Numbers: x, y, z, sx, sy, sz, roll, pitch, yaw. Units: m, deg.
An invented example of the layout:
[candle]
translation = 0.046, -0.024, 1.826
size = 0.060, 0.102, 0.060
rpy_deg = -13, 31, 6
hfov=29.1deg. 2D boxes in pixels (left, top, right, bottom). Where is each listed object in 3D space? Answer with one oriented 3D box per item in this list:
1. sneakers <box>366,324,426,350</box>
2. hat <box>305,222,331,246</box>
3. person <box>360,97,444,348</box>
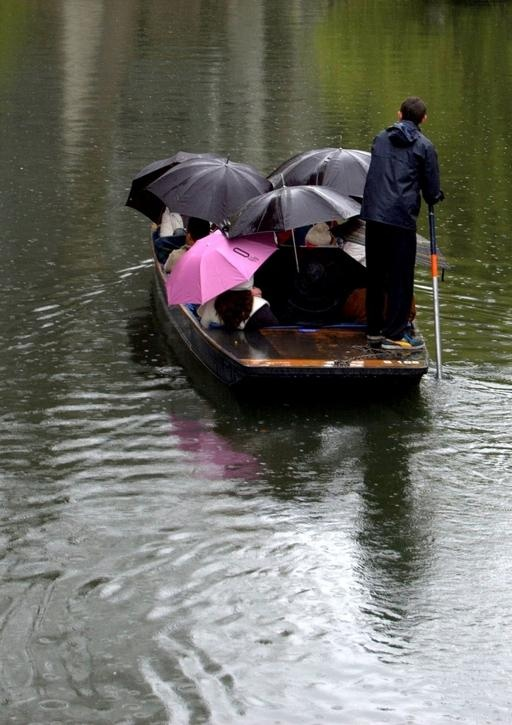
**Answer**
[sneakers]
translation = 1.116, -0.203, 7.726
size = 0.481, 0.188, 0.164
rpy_deg = -2, 16, -13
[hat]
translation = 0.539, -1.061, 8.236
size = 0.242, 0.207, 0.172
rpy_deg = 0, 6, -12
[person]
translation = 1.126, -0.960, 7.554
size = 0.610, 1.720, 0.251
rpy_deg = 0, 13, 5
